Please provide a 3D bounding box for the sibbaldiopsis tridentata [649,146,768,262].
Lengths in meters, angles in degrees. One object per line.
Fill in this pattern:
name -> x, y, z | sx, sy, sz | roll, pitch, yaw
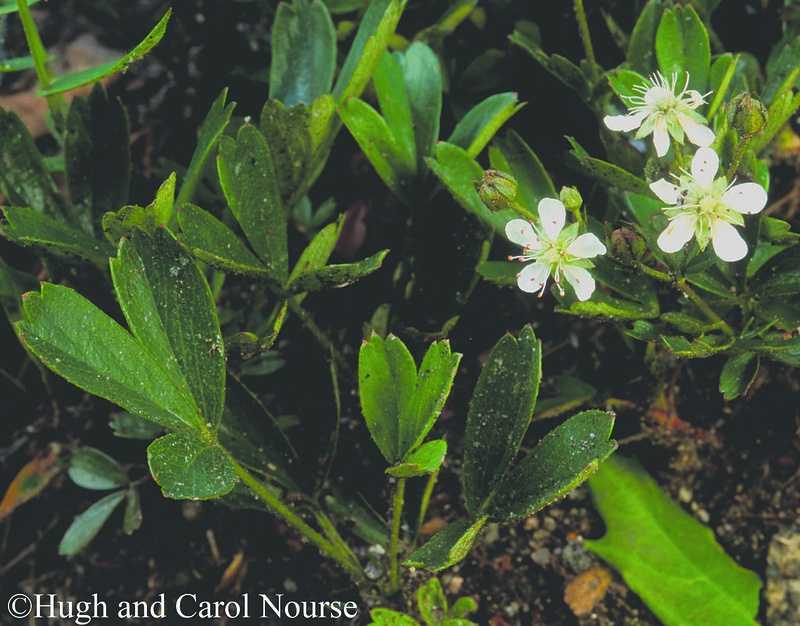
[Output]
sibbaldiopsis tridentata -> 0.490, -0.167, 1.447 | 0.173, 0.073, 0.192 | 22, 79, 9

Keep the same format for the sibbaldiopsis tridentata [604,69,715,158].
sibbaldiopsis tridentata -> 0.439, -0.309, 1.548 | 0.184, 0.080, 0.203 | 10, 59, -4

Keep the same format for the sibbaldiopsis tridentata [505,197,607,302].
sibbaldiopsis tridentata -> 0.259, -0.104, 1.457 | 0.151, 0.072, 0.185 | -11, 98, 19
